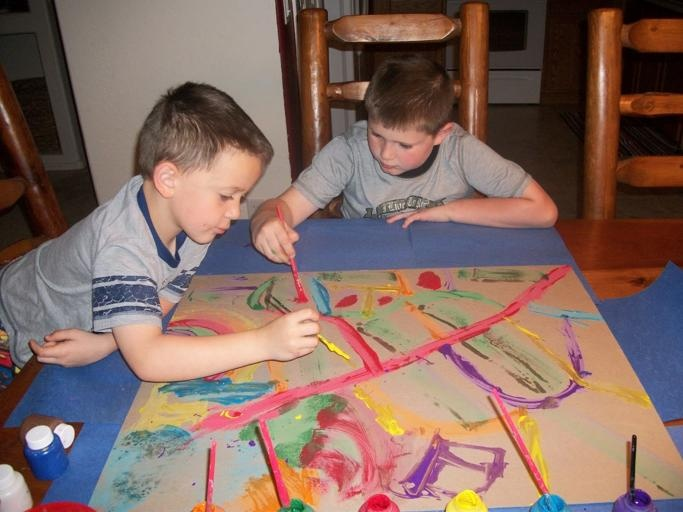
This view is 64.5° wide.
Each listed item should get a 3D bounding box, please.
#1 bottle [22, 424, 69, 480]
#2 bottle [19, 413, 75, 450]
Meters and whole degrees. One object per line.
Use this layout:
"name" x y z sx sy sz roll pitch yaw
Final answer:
"bottle" -0.441 0.295 0.807 0.042 0.063 0.041 7 39 -6
"bottle" -0.454 0.272 0.834 0.047 0.026 0.027 12 28 25
